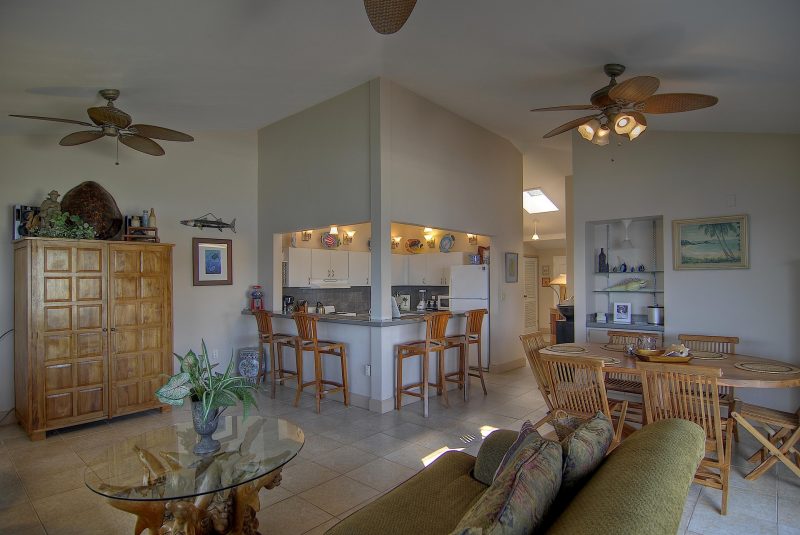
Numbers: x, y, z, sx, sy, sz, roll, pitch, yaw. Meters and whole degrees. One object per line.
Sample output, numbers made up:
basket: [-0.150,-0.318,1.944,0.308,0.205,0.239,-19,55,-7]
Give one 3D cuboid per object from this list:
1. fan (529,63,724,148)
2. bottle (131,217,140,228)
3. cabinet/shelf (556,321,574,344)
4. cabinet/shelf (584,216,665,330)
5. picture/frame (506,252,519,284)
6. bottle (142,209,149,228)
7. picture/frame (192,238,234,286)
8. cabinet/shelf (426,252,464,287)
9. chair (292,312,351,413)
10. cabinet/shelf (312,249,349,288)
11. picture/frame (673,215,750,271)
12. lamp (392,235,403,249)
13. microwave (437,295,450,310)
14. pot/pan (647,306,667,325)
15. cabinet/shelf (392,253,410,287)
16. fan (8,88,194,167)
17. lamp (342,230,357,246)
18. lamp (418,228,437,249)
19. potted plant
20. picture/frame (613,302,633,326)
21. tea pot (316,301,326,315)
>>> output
fan: [2.105,-1.479,4.854,1.078,0.433,1.057,2,-3,-39]
bottle: [-3.253,-0.565,6.478,0.107,0.157,0.155,-2,0,-26]
cabinet/shelf: [2.463,0.953,7.840,0.324,0.336,0.326,-1,-3,44]
cabinet/shelf: [2.890,0.042,6.776,0.872,0.970,0.382,-2,1,37]
picture/frame: [1.807,-0.008,8.500,0.037,0.513,0.520,-3,-5,33]
bottle: [-3.242,-0.631,6.695,0.097,0.241,0.361,-2,0,-26]
picture/frame: [-2.662,-0.084,7.403,0.070,0.846,0.723,-3,-3,45]
cabinet/shelf: [0.808,0.028,9.173,0.657,0.543,0.208,-1,0,42]
chair: [-1.073,1.149,6.733,0.605,1.106,0.854,-2,0,-40]
cabinet/shelf: [-1.134,0.018,8.376,0.657,0.532,0.276,2,0,-43]
picture/frame: [3.630,-0.286,6.060,0.689,0.620,0.047,-1,-3,37]
lamp: [-0.057,-0.493,10.136,0.238,0.255,0.221,3,-5,-41]
microwave: [0.745,0.624,9.116,0.187,0.236,0.350,5,-8,-29]
pot/pan: [3.199,0.595,6.558,0.223,0.218,0.217,1,1,-32]
cabinet/shelf: [-0.012,0.049,9.816,0.350,0.498,0.129,-2,1,-41]
fan: [-3.119,-1.538,5.750,1.043,0.770,1.526,-2,0,-38]
lamp: [-0.890,-0.520,9.039,0.282,0.230,0.057,-2,0,-42]
lamp: [0.567,-0.548,9.933,0.352,0.438,0.353,8,-10,-43]
potted plant: [-1.632,1.014,4.485,0.922,0.982,1.021,0,-1,12]
picture/frame: [2.866,0.599,6.737,0.292,0.401,0.031,-5,-19,40]
tea pot: [-1.271,0.636,8.284,0.151,0.201,0.207,1,-10,-8]
